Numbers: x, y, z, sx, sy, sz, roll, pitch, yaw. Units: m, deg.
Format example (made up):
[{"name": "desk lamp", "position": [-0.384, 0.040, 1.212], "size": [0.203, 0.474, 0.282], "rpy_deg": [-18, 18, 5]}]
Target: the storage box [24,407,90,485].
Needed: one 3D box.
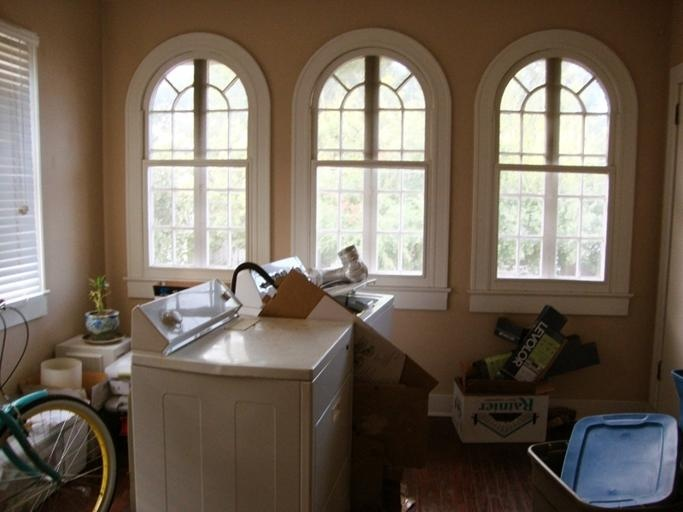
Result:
[{"name": "storage box", "position": [-1.639, 1.067, 3.344], "size": [0.401, 0.259, 0.398], "rpy_deg": [10, -13, -44]}]

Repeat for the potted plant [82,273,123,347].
[{"name": "potted plant", "position": [-1.698, 0.372, 4.040], "size": [0.266, 0.443, 0.268], "rpy_deg": [-5, 9, -41]}]

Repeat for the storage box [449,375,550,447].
[{"name": "storage box", "position": [1.175, 1.098, 4.175], "size": [0.584, 0.324, 0.463], "rpy_deg": [-2, 5, 17]}]

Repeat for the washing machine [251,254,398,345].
[{"name": "washing machine", "position": [0.002, 0.272, 3.548], "size": [0.521, 0.778, 0.784], "rpy_deg": [0, 4, 10]}]
